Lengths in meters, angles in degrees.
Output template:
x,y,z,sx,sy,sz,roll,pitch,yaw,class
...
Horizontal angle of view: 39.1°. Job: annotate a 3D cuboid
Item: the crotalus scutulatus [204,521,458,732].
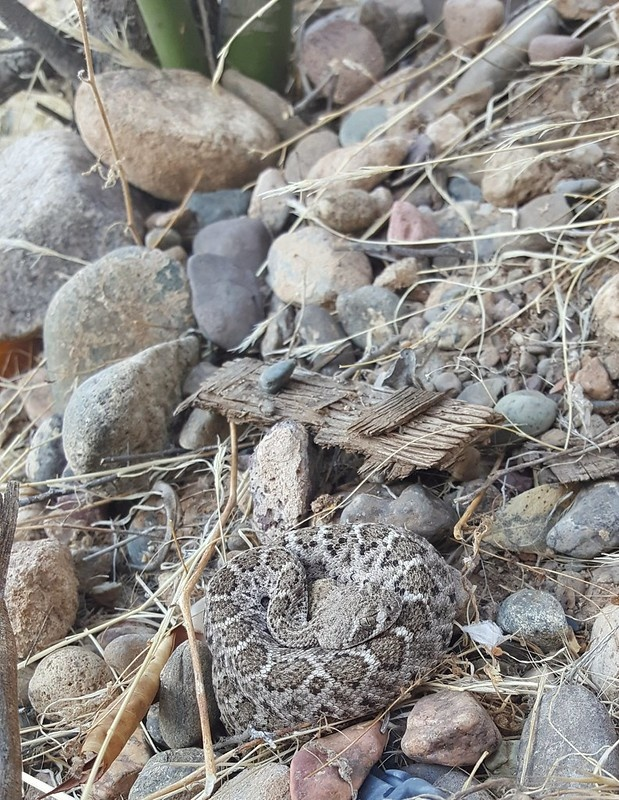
x,y,z,sx,sy,sz,roll,pitch,yaw,class
0.039,0.440,1.763,0.513,0.146,0.434,-15,43,3,crotalus scutulatus
